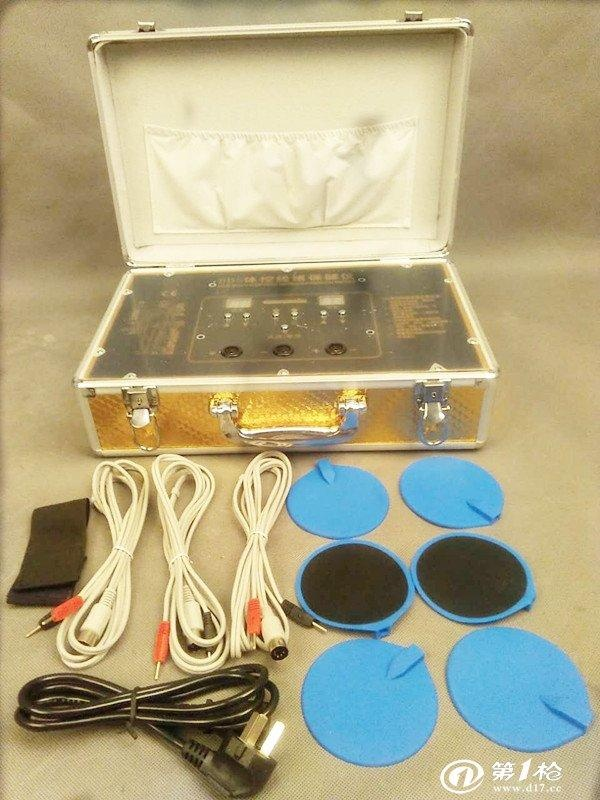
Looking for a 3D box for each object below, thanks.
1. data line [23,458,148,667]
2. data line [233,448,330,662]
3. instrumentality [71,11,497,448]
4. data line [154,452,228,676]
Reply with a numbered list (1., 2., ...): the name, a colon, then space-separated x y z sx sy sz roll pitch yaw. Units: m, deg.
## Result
1. data line: -0.377 0.295 1.405 0.157 0.067 0.406 2 37 2
2. data line: -0.075 0.291 1.435 0.149 0.052 0.414 -1 34 -2
3. instrumentality: -0.034 -0.399 1.769 0.960 0.959 0.711 0 30 0
4. data line: -0.214 0.285 1.398 0.141 0.061 0.471 -5 45 -11
